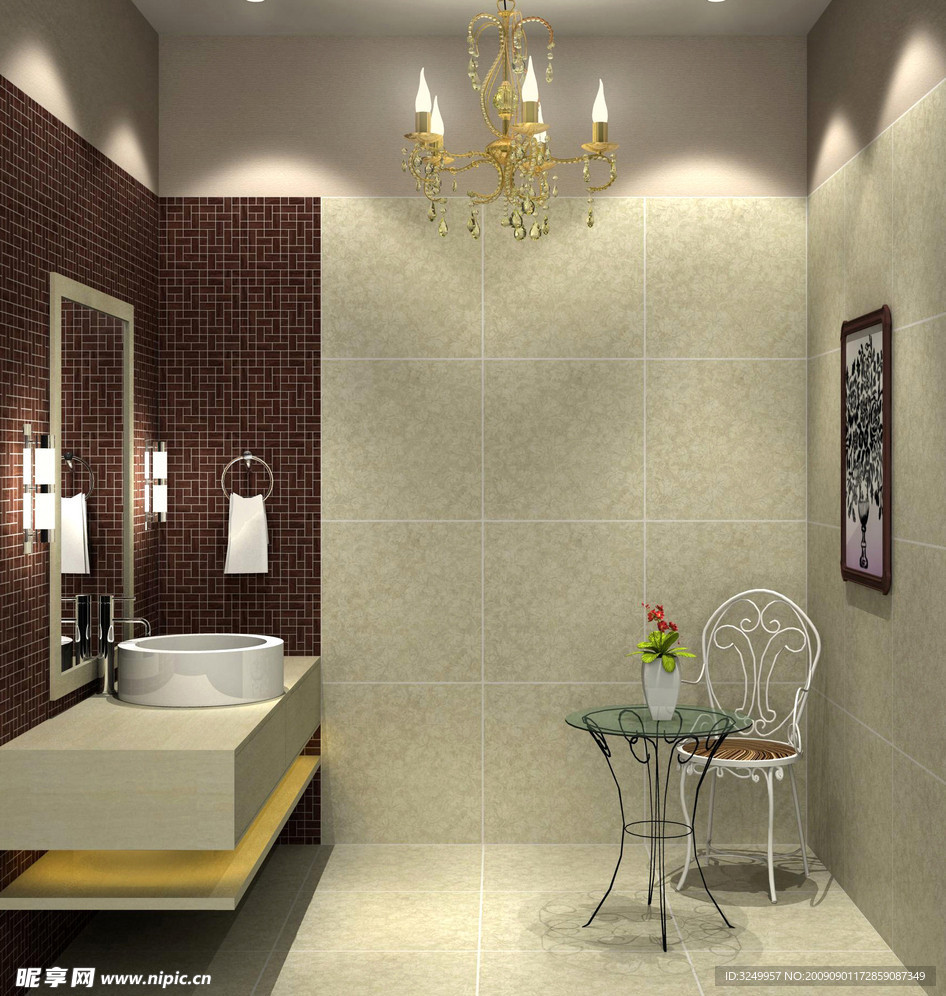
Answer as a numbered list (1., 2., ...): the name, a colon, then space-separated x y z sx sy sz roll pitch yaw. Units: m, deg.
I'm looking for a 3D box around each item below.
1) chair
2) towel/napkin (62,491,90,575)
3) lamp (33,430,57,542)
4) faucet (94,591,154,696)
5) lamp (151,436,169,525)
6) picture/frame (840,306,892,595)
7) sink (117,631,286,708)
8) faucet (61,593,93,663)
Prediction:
1. chair: 1.064 0.941 3.514 0.473 1.151 0.507 5 -4 -27
2. towel/napkin: -1.259 0.095 2.811 0.097 0.218 0.020 -1 4 11
3. lamp: -1.236 -0.036 2.575 0.038 0.282 0.074 0 1 16
4. faucet: -1.173 0.490 3.007 0.160 0.367 0.057 3 19 -12
5. lamp: -1.255 -0.060 3.587 0.067 0.335 0.180 0 1 -20
6. picture/frame: 1.315 -0.159 2.988 0.082 0.908 0.454 0 1 13
7. sink: -0.929 0.566 3.018 0.528 0.195 0.590 -1 1 -26
8. faucet: -1.256 0.426 2.877 0.048 0.232 0.041 -1 3 -29
